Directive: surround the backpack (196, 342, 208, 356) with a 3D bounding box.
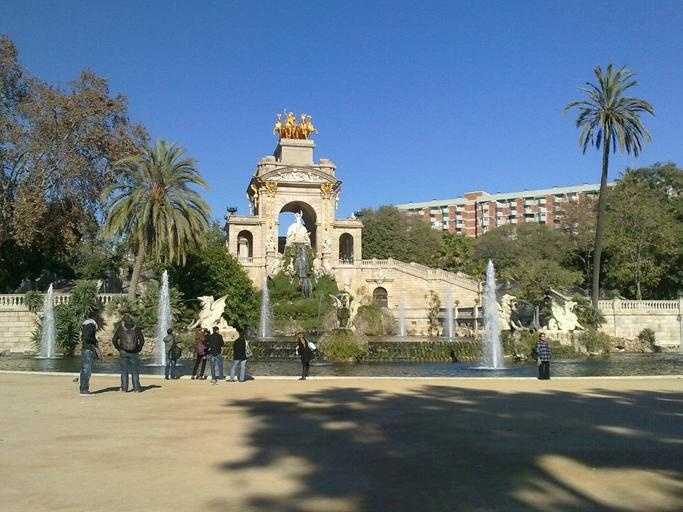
[{"bbox_3d":[-4.461,2.954,20.814,0.304,0.581,0.448,-2,-4,6],"label":"backpack"}]

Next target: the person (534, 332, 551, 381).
[{"bbox_3d":[6.711,3.342,21.942,0.442,1.559,1.254,-3,-10,16],"label":"person"}]

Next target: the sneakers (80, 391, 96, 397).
[{"bbox_3d":[-6.526,3.537,16.836,0.365,0.168,0.130,2,-3,5],"label":"sneakers"}]
